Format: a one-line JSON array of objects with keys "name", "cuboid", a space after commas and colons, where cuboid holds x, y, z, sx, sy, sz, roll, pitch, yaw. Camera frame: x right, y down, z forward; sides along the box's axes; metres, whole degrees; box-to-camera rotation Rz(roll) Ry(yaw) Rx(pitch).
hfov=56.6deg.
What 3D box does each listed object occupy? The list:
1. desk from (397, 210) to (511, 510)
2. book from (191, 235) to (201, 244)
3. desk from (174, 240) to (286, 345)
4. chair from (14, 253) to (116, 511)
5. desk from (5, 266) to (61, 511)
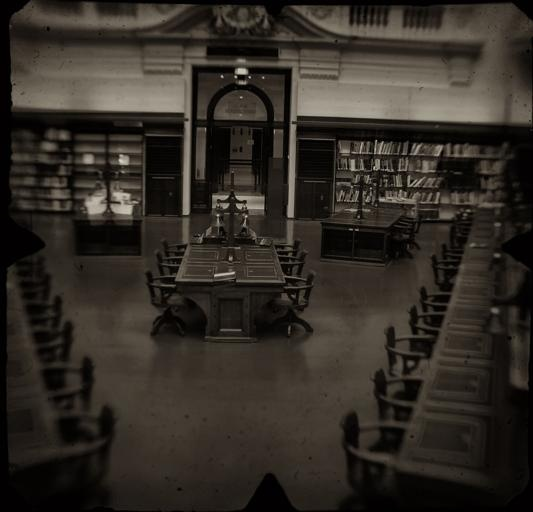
[{"name": "desk", "cuboid": [1.662, 0.926, 4.334, 0.492, 0.289, 2.695, -4, 32, 18]}, {"name": "book", "cuboid": [-1.024, -0.246, 7.368, 0.121, 0.034, 0.127, 1, 33, 1]}, {"name": "desk", "cuboid": [-0.435, 0.397, 6.303, 1.261, 1.131, 1.315, 0, 9, -5]}, {"name": "chair", "cuboid": [-1.724, 1.098, 4.189, 0.429, 0.291, 1.934, 12, 33, -24]}, {"name": "desk", "cuboid": [-1.903, 0.844, 3.991, 0.335, 1.514, 0.695, -4, 9, -25]}]
